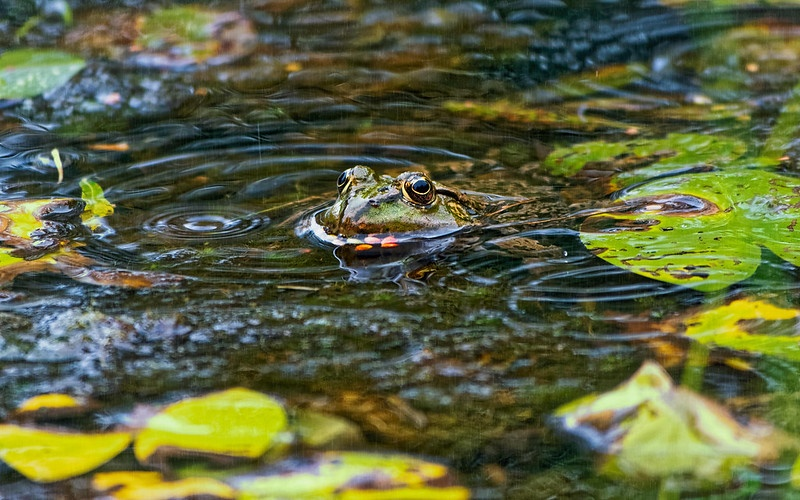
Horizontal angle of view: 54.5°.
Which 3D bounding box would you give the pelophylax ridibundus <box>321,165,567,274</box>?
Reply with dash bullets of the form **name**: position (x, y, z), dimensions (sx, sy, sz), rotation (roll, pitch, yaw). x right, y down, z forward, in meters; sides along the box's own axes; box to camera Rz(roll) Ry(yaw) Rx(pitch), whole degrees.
- **pelophylax ridibundus**: position (0.104, -0.113, 3.262), dimensions (0.821, 0.195, 0.699), rotation (8, 23, 31)
